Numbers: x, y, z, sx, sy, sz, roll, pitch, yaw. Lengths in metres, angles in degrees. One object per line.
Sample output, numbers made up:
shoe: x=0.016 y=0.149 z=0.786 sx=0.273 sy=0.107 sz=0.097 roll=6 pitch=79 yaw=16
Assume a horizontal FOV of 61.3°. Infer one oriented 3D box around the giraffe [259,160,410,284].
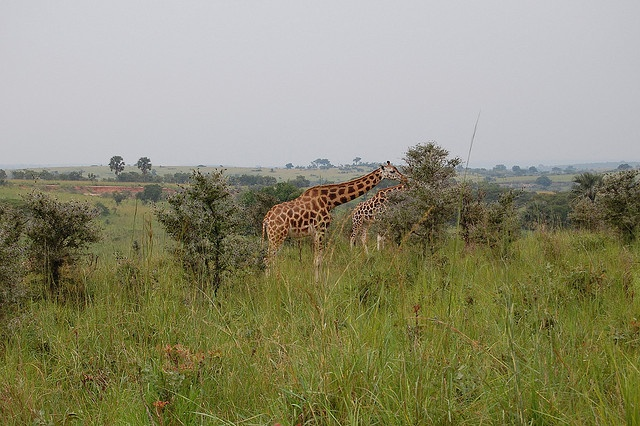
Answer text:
giraffe: x=0.156 y=0.048 z=14.095 sx=4.295 sy=2.712 sz=1.226 roll=0 pitch=-1 yaw=-41
